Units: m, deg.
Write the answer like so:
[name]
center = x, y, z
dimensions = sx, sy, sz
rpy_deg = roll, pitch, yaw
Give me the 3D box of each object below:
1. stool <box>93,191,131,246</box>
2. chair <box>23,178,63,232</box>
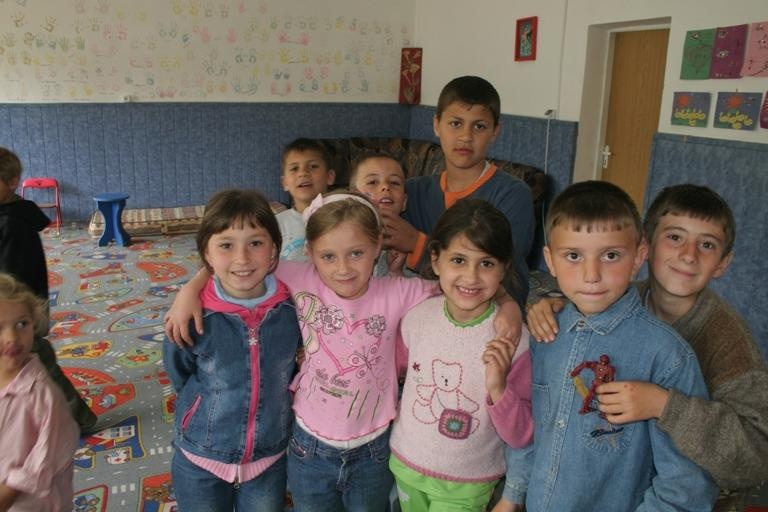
[stool]
center = -3.189, -0.412, 6.934
dimensions = 0.575, 0.528, 0.553
rpy_deg = -5, 15, -27
[chair]
center = -4.278, -0.624, 7.358
dimensions = 0.430, 0.639, 0.441
rpy_deg = -3, 16, -25
